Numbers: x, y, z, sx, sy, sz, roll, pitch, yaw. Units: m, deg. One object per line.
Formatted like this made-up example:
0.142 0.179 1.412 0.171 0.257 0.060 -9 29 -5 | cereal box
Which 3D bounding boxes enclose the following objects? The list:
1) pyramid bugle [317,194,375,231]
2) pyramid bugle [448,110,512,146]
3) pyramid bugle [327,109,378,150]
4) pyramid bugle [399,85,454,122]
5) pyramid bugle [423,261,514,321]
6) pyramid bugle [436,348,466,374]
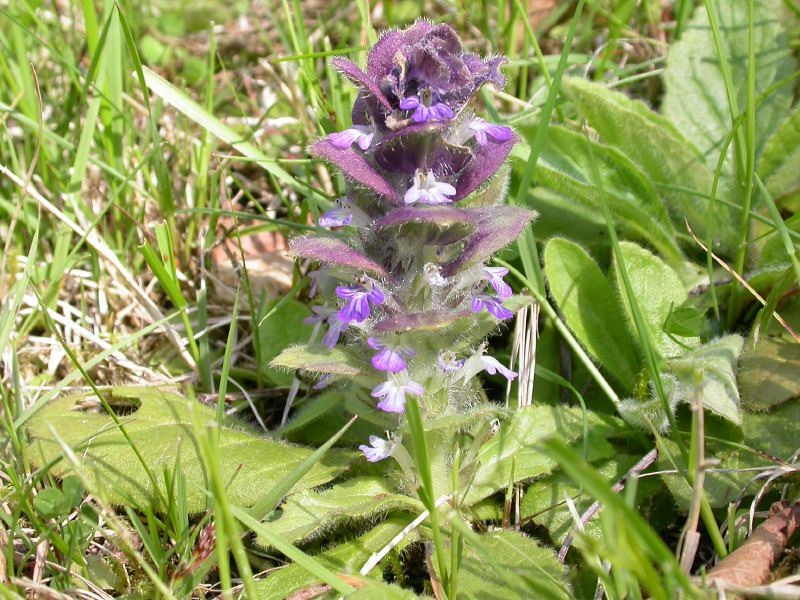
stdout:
-0.281 -0.383 3.946 0.193 0.074 0.187 -11 75 -31 | pyramid bugle
0.359 -0.772 3.776 0.189 0.079 0.190 -14 34 -30 | pyramid bugle
-0.221 -0.716 3.743 0.216 0.150 0.187 -17 41 2 | pyramid bugle
0.113 -0.817 3.575 0.166 0.088 0.173 30 39 29 | pyramid bugle
0.316 -0.044 3.877 0.367 0.373 0.354 -9 41 11 | pyramid bugle
0.236 0.310 3.922 0.095 0.053 0.111 -17 41 3 | pyramid bugle
